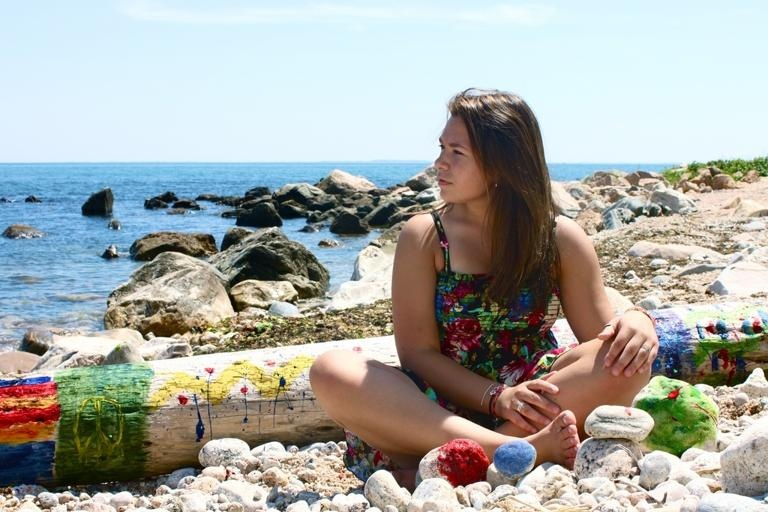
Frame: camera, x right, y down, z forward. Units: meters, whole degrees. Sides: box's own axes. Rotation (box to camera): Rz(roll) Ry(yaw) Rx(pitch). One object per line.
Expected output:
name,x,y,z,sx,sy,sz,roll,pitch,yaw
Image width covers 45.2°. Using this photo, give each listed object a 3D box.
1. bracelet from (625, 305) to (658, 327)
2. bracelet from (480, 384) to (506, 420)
bracelet,1.619,0.386,5.772,0.127,0.051,0.112,31,12,30
bracelet,0.637,0.858,5.409,0.150,0.170,0.062,15,-9,-35
